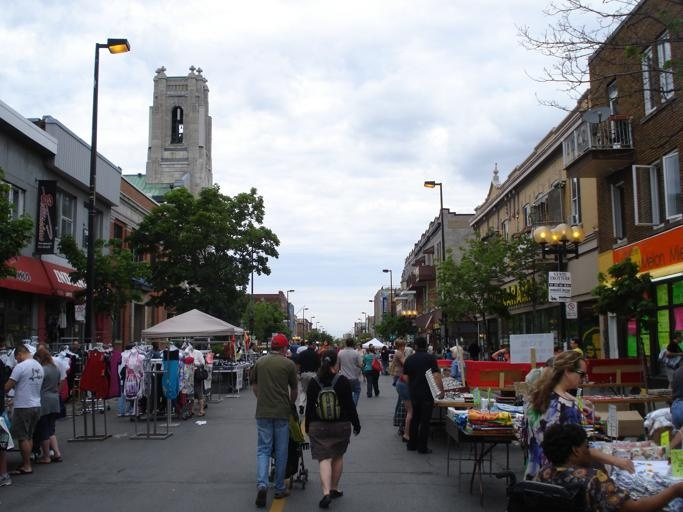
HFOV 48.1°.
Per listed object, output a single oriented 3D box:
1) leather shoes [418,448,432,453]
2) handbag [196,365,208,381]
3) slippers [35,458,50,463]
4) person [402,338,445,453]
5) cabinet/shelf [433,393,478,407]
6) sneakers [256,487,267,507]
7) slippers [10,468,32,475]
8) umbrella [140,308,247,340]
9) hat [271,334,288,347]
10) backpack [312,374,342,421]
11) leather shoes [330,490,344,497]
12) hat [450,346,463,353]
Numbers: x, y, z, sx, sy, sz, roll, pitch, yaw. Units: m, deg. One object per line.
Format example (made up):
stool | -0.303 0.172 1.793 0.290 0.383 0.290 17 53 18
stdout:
leather shoes | 1.759 4.064 16.001 0.304 0.138 0.107 -2 22 4
handbag | -4.245 3.520 22.997 0.301 0.481 0.754 3 5 1
slippers | -6.031 4.104 15.372 0.252 0.062 0.108 9 -10 -34
person | 1.771 2.970 16.336 0.782 2.483 0.703 3 2 37
cabinet/shelf | 2.287 2.932 15.386 0.580 0.169 0.610 -2 -2 11
sneakers | -1.311 3.926 12.431 0.187 0.281 0.296 2 5 -5
slippers | -6.118 4.112 14.541 0.357 0.098 0.146 8 -12 -8
umbrella | -5.355 2.454 26.827 3.256 1.095 1.810 1 5 -20
hat | -1.085 1.484 13.386 0.178 0.307 0.303 1 -7 11
backpack | -0.227 2.396 12.861 0.455 0.699 0.323 2 5 -2
leather shoes | -0.086 3.967 12.773 0.078 0.108 0.269 -2 -5 28
hat | 3.034 2.420 19.871 0.224 0.126 0.289 0 -2 -9
